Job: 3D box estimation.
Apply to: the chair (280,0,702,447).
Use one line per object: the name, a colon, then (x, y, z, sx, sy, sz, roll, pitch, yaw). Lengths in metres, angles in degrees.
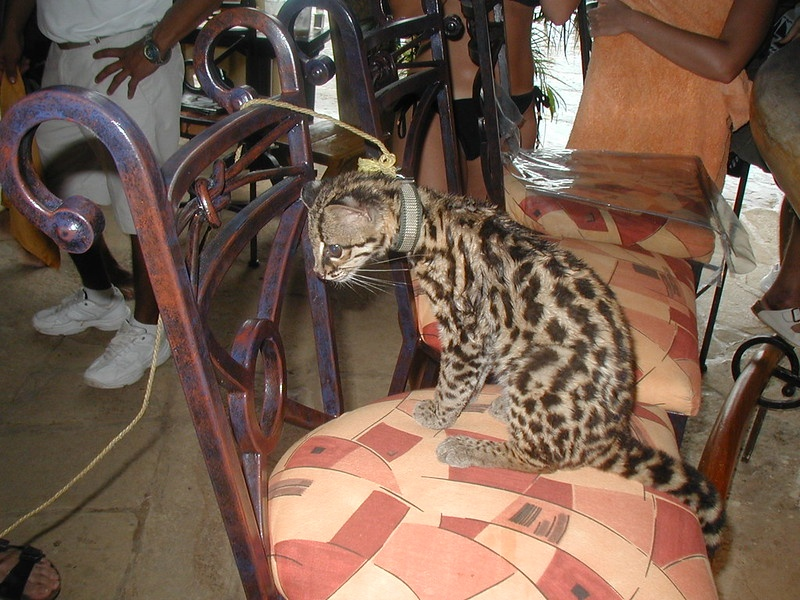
chair: (0.706, -0.671, 3.342, 1.554, 2.548, 1.611, 9, 66, 19)

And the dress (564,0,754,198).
dress: (1.167, -0.908, 3.327, 0.686, 0.901, 1.208, 16, 6, 14)
